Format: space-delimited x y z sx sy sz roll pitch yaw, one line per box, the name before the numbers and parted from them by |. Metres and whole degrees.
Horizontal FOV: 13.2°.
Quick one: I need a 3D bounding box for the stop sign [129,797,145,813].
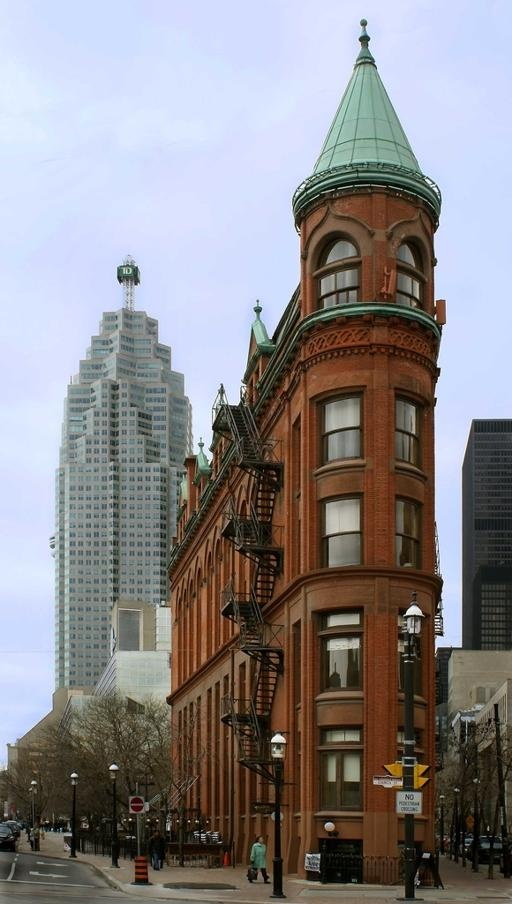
stop sign | -3.649 10.710 67.842 0.415 0.688 0.093 -2 -16 -5
